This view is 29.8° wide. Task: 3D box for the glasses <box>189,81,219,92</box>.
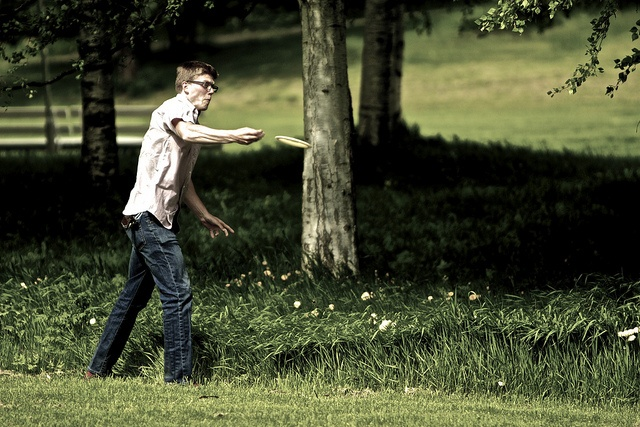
[{"bbox_3d":[-1.537,-1.704,15.820,0.204,0.067,0.210,16,-7,36],"label":"glasses"}]
